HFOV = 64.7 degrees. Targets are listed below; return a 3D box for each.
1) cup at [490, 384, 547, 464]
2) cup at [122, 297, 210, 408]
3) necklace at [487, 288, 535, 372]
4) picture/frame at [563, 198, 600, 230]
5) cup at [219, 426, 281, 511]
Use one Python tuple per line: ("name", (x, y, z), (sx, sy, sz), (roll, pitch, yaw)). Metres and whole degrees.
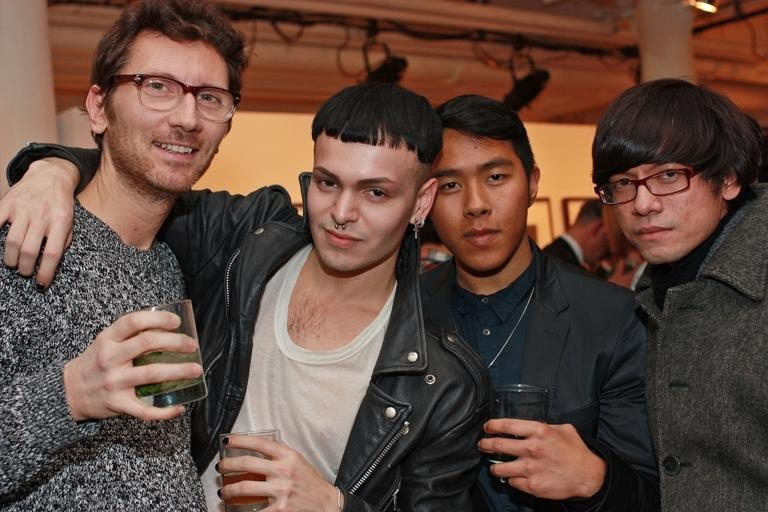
("cup", (0.508, 0.616, 2.274), (0.284, 0.289, 0.266), (1, -9, 0))
("cup", (-0.650, 0.303, 1.852), (0.208, 0.313, 0.168), (-3, 21, -32))
("necklace", (0.577, 0.346, 2.762), (0.050, 0.439, 0.047), (42, -24, -22))
("picture/frame", (1.738, -0.382, 5.328), (0.385, 0.424, 0.027), (0, 39, 18))
("cup", (-0.475, 0.750, 2.088), (0.207, 0.325, 0.172), (6, 17, -8))
